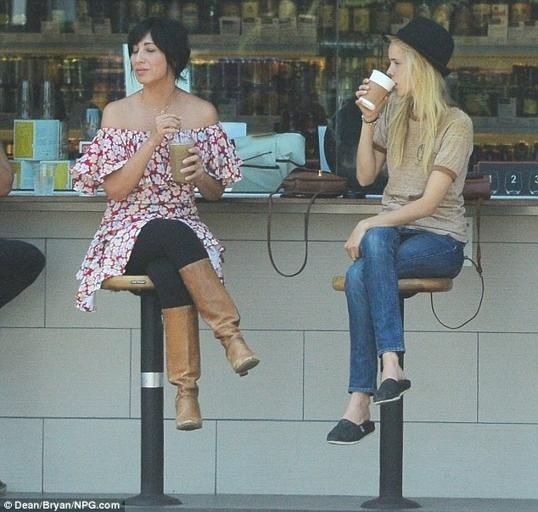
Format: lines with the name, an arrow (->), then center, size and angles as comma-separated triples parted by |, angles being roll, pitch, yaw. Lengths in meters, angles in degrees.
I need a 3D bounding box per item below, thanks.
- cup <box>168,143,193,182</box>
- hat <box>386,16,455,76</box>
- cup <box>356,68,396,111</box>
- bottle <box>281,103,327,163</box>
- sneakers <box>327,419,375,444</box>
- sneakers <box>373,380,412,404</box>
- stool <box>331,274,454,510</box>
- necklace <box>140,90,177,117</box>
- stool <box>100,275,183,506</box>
cup -> -0.311, -0.318, 4.441 | 0.110, 0.162, 0.109 | 1, 6, 0
hat -> 0.554, -0.756, 4.629 | 0.225, 0.086, 0.193 | 34, 0, -26
cup -> 0.381, -0.578, 4.593 | 0.114, 0.143, 0.115 | -1, 8, 0
bottle -> 0.154, -0.501, 5.476 | 0.178, 0.230, 0.087 | 0, -12, 11
sneakers -> 0.275, 0.594, 4.456 | 0.153, 0.054, 0.080 | -16, 11, -39
sneakers -> 0.415, 0.446, 4.392 | 0.058, 0.056, 0.157 | 2, 15, 36
stool -> 0.421, 0.483, 4.594 | 0.287, 0.836, 0.347 | -7, 10, -38
necklace -> -0.400, -0.547, 4.728 | 0.121, 0.083, 0.093 | 0, 1, 11
stool -> -0.452, 0.476, 4.584 | 0.242, 0.832, 0.228 | -4, 8, -20
